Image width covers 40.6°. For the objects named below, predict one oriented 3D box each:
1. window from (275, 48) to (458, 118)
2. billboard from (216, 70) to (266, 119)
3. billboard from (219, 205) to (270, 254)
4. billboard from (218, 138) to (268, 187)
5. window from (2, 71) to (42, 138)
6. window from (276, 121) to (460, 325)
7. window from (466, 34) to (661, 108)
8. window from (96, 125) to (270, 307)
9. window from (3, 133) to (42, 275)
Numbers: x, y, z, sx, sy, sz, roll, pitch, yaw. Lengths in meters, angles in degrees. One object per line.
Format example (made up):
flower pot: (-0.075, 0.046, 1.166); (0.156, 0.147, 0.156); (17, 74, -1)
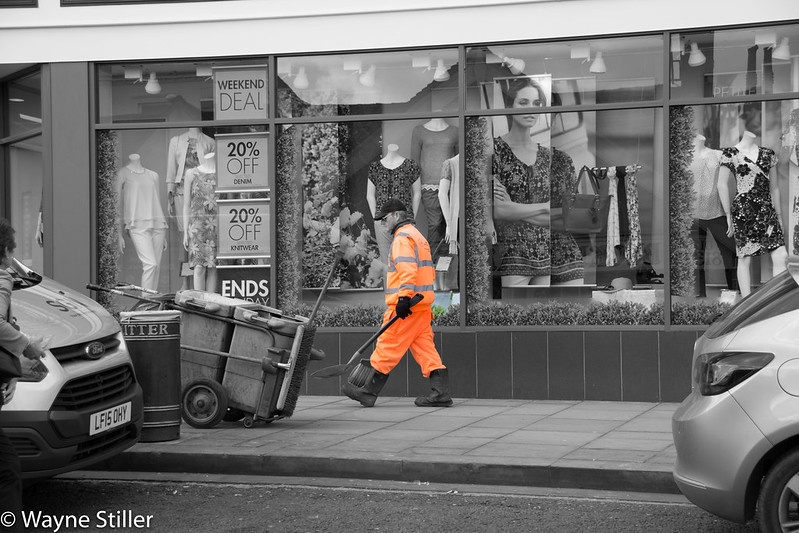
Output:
window: (-0.468, -2.627, 15.575); (2.604, 0.925, 0.178); (1, 11, 11)
billboard: (-2.260, -2.543, 16.140); (0.900, 0.821, 0.502); (1, 4, 15)
billboard: (-2.246, -0.548, 16.006); (0.741, 0.692, 0.096); (0, 4, 10)
billboard: (-2.275, -1.561, 15.984); (0.739, 0.691, 0.097); (0, 5, 8)
window: (-5.949, -2.600, 17.181); (0.970, 0.966, 0.063); (9, 12, 43)
window: (-0.358, -0.651, 15.408); (2.992, 3.081, 0.163); (-1, 1, 5)
window: (2.267, -2.679, 14.992); (2.618, 0.931, 0.325); (1, 11, 6)
window: (-3.133, -0.763, 16.000); (2.749, 2.708, 0.139); (-1, 2, 13)
window: (-5.591, -0.943, 16.219); (0.135, 2.677, 2.300); (2, -3, -31)
